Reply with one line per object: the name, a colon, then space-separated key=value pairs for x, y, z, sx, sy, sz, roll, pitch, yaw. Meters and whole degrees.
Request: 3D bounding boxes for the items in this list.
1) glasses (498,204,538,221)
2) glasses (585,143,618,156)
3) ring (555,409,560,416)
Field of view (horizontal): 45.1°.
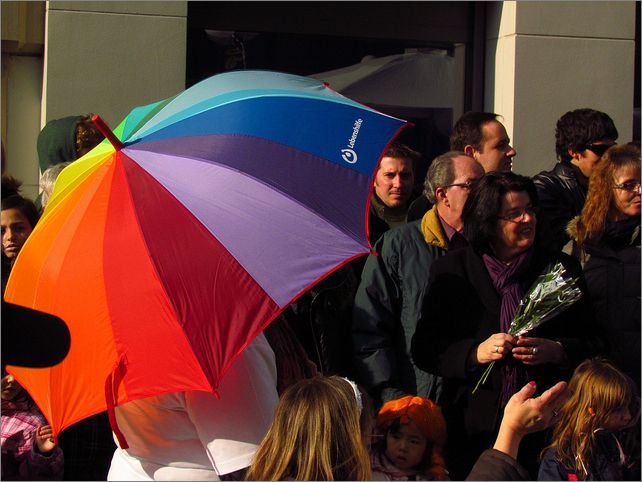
glasses: x=1.163 y=-0.163 z=4.468 sx=0.267 sy=0.097 sz=0.096 roll=0 pitch=3 yaw=-30
glasses: x=2.089 y=-0.683 z=5.725 sx=0.129 sy=0.044 sz=0.137 roll=-1 pitch=-16 yaw=-1
ring: x=1.050 y=0.765 z=3.432 sx=0.012 sy=0.033 sz=0.042 roll=3 pitch=3 yaw=34
